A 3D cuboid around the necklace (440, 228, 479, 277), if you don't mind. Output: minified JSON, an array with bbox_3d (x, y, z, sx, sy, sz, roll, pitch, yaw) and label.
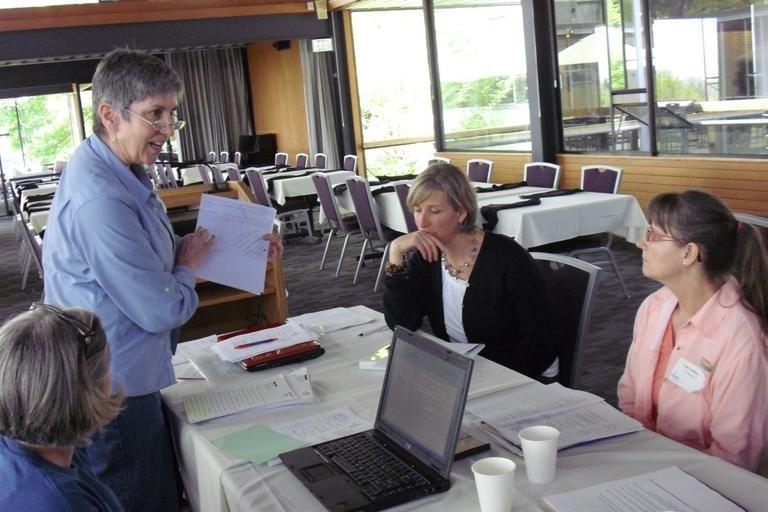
[{"bbox_3d":[0.337,-0.020,2.132,0.167,0.190,0.051,-8,22,-25],"label":"necklace"}]

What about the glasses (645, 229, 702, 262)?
[{"bbox_3d":[0.916,-0.044,1.529,0.116,0.032,0.108,13,6,10],"label":"glasses"}]

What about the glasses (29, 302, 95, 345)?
[{"bbox_3d":[-0.669,0.140,1.028,0.108,0.030,0.105,-17,37,-39],"label":"glasses"}]

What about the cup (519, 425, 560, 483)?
[{"bbox_3d":[0.386,0.482,1.198,0.087,0.123,0.096,-7,12,2],"label":"cup"}]

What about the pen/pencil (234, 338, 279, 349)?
[{"bbox_3d":[-0.530,0.369,2.042,0.104,0.011,0.016,-11,43,-14],"label":"pen/pencil"}]
